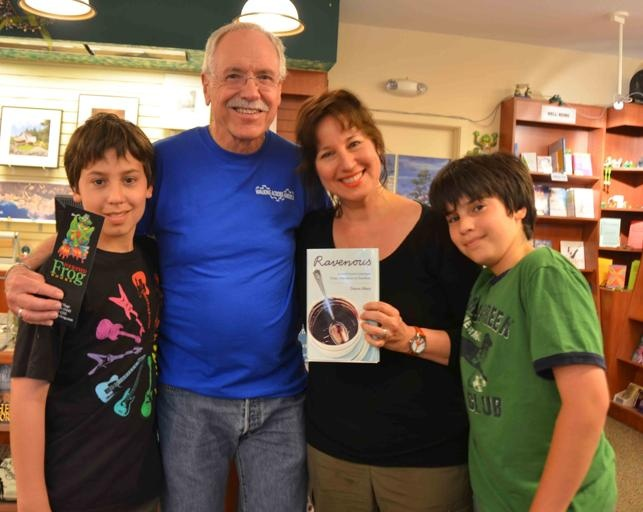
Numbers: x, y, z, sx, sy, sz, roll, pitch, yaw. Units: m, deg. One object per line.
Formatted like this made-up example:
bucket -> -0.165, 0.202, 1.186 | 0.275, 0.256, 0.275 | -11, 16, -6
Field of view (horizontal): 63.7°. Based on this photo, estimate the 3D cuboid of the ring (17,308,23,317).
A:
ring -> -0.944, 0.178, 1.621 | 0.007, 0.025, 0.025 | -3, -8, -22

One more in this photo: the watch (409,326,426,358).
watch -> 0.338, 0.306, 1.811 | 0.058, 0.087, 0.079 | 2, 3, -4
